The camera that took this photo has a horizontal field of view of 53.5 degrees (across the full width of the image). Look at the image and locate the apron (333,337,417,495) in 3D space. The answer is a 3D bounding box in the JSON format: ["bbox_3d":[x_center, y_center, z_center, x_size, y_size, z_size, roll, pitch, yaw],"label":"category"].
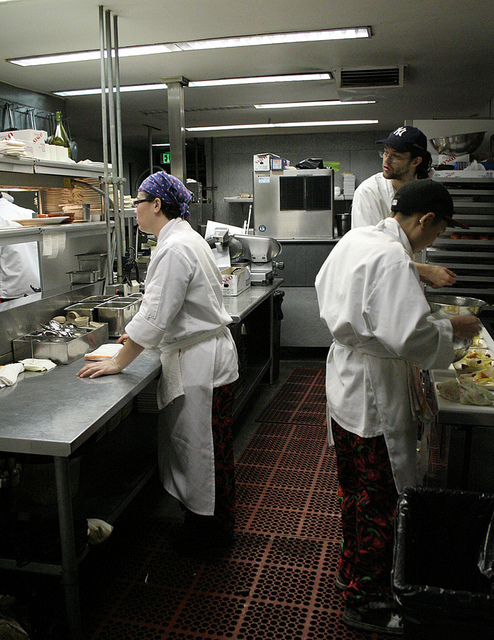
[{"bbox_3d":[0.398,0.271,1.465,0.208,0.457,0.106,1,11,14],"label":"apron"}]

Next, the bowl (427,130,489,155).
[{"bbox_3d":[1.564,-1.306,3.672,0.360,0.141,0.237,2,11,20],"label":"bowl"}]

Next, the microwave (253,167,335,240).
[{"bbox_3d":[0.590,-1.332,5.793,0.963,0.792,0.543,2,6,12],"label":"microwave"}]

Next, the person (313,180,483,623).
[{"bbox_3d":[0.383,0.287,1.506,0.333,1.364,0.474,-10,13,-37],"label":"person"}]

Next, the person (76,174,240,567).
[{"bbox_3d":[-0.309,0.223,2.010,0.519,1.579,0.513,0,11,11],"label":"person"}]

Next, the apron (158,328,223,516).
[{"bbox_3d":[-0.250,0.401,1.988,0.281,0.721,0.233,-2,11,1],"label":"apron"}]

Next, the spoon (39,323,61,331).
[{"bbox_3d":[-0.937,0.033,2.330,0.072,0.011,0.015,15,35,11],"label":"spoon"}]
